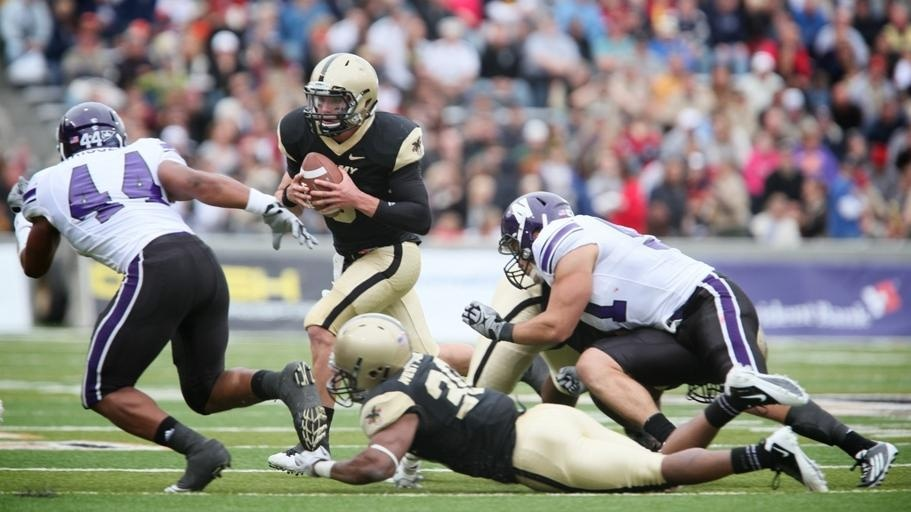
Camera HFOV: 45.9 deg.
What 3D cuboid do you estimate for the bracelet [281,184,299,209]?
[{"bbox_3d":[-1.579,-0.571,10.389,0.166,0.193,0.147,18,-38,-25],"label":"bracelet"}]

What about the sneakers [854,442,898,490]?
[{"bbox_3d":[3.611,1.776,9.199,0.281,0.563,0.191,9,51,-4],"label":"sneakers"}]

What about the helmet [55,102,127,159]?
[{"bbox_3d":[-3.352,-1.130,9.947,0.506,0.513,0.607,-7,16,-17],"label":"helmet"}]
